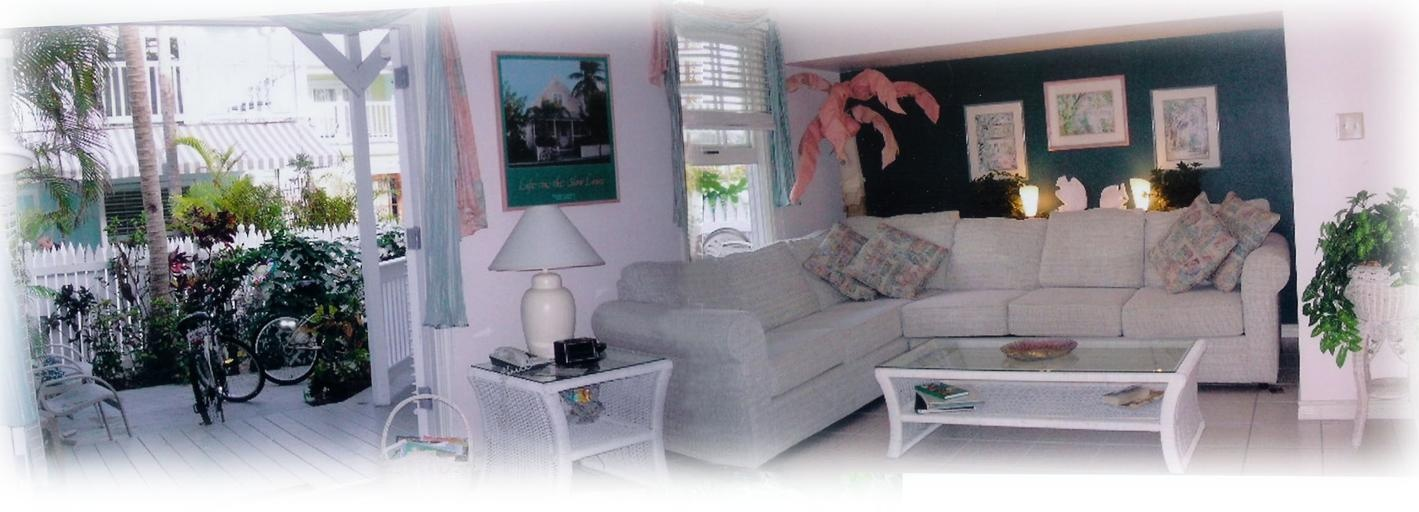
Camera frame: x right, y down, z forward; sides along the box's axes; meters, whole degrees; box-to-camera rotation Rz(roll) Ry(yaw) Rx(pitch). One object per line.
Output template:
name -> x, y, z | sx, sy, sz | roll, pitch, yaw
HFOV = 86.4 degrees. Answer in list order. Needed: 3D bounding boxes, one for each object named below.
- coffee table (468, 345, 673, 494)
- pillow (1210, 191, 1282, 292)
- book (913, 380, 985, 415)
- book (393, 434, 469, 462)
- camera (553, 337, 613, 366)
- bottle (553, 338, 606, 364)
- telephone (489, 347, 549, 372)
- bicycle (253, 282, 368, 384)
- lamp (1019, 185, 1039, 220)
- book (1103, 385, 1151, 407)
coffee table -> -1.734, 1.997, 9.661 | 2.352, 1.308, 2.774 | -1, 1, 42
pillow -> 7.222, -0.171, 10.327 | 0.859, 1.259, 0.593 | -15, 14, -37
book -> 2.939, 1.778, 9.459 | 0.714, 0.124, 0.435 | -1, 3, -10
book -> -3.332, 2.276, 9.058 | 0.574, 0.088, 0.556 | -3, -4, 43
camera -> -1.571, 1.153, 9.104 | 0.648, 0.315, 0.232 | -5, 11, -10
bottle -> -1.567, 1.149, 9.083 | 0.872, 0.259, 0.355 | 0, 6, -20
telephone -> -2.343, 1.248, 9.108 | 0.498, 0.102, 0.435 | 6, 6, 31
bicycle -> -6.316, 1.182, 11.772 | 1.716, 1.575, 0.667 | -7, 12, -8
lamp -> 5.146, -0.872, 12.155 | 0.299, 0.488, 0.146 | -6, 13, 2
book -> 5.151, 1.710, 9.292 | 0.595, 0.134, 0.242 | -4, 28, 7
